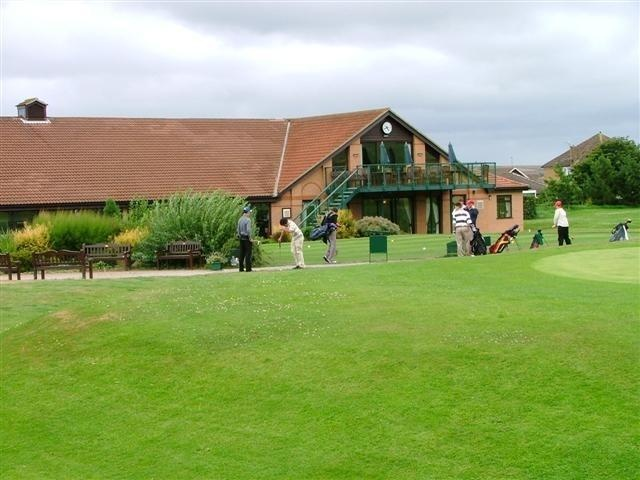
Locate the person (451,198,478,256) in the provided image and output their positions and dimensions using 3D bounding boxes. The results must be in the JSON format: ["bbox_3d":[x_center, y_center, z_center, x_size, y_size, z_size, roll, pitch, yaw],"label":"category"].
[{"bbox_3d":[4.964,-0.433,31.866,0.676,1.403,2.019,-1,0,10],"label":"person"}]

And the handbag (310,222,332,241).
[{"bbox_3d":[0.012,-0.297,32.560,0.774,0.511,1.068,-1,0,-3],"label":"handbag"}]

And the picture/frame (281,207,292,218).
[{"bbox_3d":[-1.724,-1.442,47.175,0.424,0.396,0.258,-1,0,-3],"label":"picture/frame"}]

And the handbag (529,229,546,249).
[{"bbox_3d":[8.692,-0.055,37.023,0.400,1.090,0.609,-9,22,-25],"label":"handbag"}]

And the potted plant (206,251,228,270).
[{"bbox_3d":[-3.444,0.694,30.574,0.526,0.572,0.557,1,-5,-9],"label":"potted plant"}]

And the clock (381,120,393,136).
[{"bbox_3d":[3.610,-6.166,50.258,0.640,0.719,0.156,-5,8,-31],"label":"clock"}]

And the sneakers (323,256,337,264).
[{"bbox_3d":[0.345,0.701,31.570,0.216,0.191,0.511,-38,-30,22],"label":"sneakers"}]
